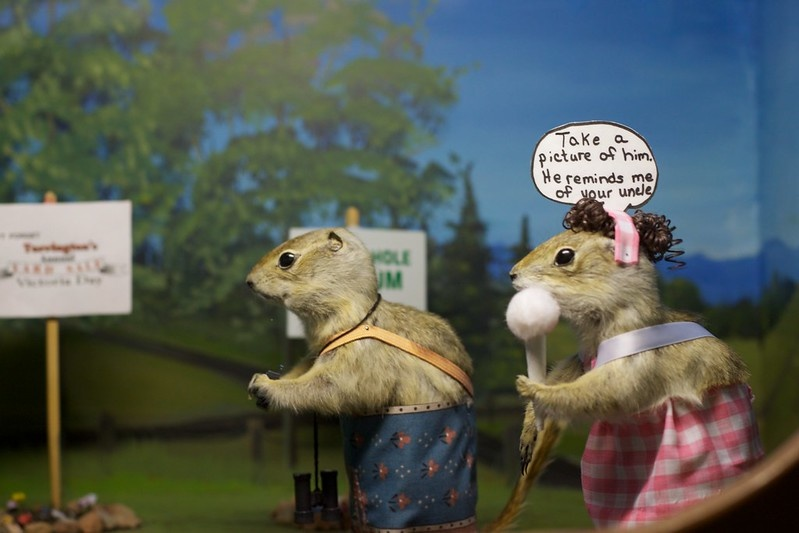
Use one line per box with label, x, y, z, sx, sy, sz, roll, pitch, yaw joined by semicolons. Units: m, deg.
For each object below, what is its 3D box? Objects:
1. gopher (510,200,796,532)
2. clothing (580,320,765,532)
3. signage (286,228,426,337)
gopher;1.037;0.359;6.344;1.259;1.841;0.854;-2;0;10
clothing;1.016;0.611;5.870;0.745;0.735;0.702;-21;-8;16
signage;-0.106;0.072;6.363;0.543;0.477;0.059;4;10;30
